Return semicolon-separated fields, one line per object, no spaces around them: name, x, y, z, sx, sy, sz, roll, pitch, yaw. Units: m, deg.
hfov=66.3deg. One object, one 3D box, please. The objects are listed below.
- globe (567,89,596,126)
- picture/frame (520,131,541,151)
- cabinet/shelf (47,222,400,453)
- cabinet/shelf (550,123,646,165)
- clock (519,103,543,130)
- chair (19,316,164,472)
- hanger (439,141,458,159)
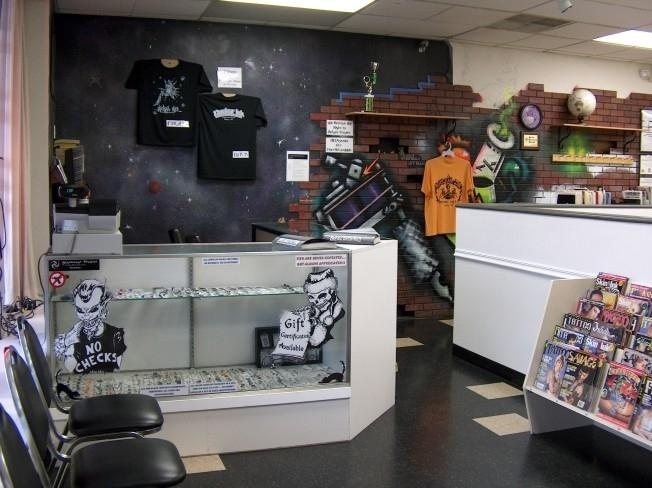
globe;3.481;-1.890;6.819;0.375;0.448;0.373;7;25;30
picture/frame;2.684;-1.377;6.636;0.283;0.241;0.028;0;2;-17
cabinet/shelf;-0.604;0.602;3.120;2.026;1.084;0.640;1;-3;-30
cabinet/shelf;3.757;-1.350;6.903;1.261;0.507;0.328;-2;-1;-12
clock;2.694;-1.683;6.636;0.343;0.322;0.081;-11;11;-29
chair;-1.148;0.815;2.455;0.669;0.939;0.486;3;-2;-31
hanger;1.511;-1.183;6.275;0.248;0.269;0.038;1;2;-2
